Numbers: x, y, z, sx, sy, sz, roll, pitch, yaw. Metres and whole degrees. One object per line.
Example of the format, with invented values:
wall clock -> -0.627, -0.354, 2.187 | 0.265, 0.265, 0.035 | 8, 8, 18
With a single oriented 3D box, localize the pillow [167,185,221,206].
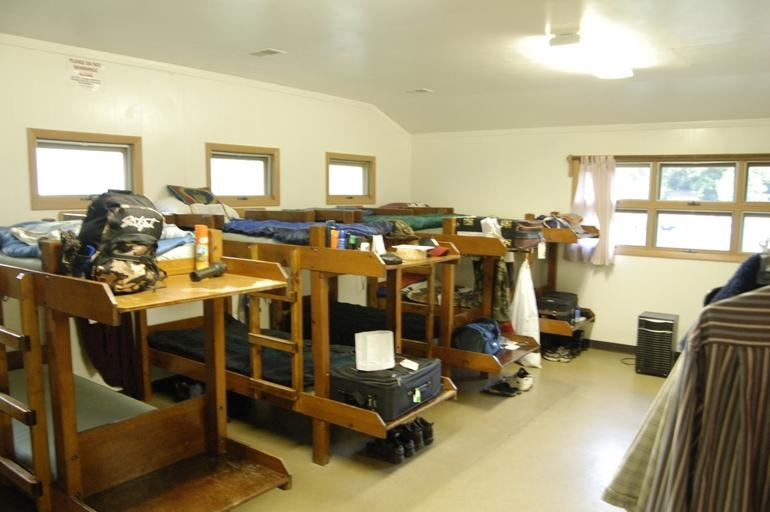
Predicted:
pillow -> -1.794, -0.538, 5.399 | 0.315, 0.081, 0.316 | 2, 17, -43

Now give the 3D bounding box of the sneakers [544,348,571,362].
sneakers -> 1.992, 1.153, 6.429 | 0.254, 0.093, 0.145 | 3, 2, 17

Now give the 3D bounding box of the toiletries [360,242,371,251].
toiletries -> -0.131, -0.074, 4.123 | 0.078, 0.044, 0.053 | -4, 12, -22

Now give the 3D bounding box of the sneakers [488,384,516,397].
sneakers -> 1.136, 1.303, 5.351 | 0.305, 0.108, 0.104 | 0, 3, 22

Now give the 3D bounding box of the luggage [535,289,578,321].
luggage -> 1.938, 0.562, 6.311 | 0.372, 0.189, 0.467 | 3, 4, 35

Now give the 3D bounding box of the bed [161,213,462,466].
bed -> -0.375, 0.637, 4.756 | 2.802, 1.388, 1.419 | 3, 8, 31

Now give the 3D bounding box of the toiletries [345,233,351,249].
toiletries -> -0.249, -0.116, 4.092 | 0.030, 0.101, 0.024 | 2, 16, -3

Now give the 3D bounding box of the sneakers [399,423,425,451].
sneakers -> 0.232, 1.435, 4.372 | 0.104, 0.104, 0.285 | -5, 9, -29

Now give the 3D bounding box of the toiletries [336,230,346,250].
toiletries -> -0.295, -0.124, 4.073 | 0.060, 0.119, 0.089 | 2, 15, -3

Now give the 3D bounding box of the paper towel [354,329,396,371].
paper towel -> -0.150, 0.716, 4.310 | 0.326, 0.224, 0.291 | -8, -27, 18

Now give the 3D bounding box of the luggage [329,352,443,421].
luggage -> 0.114, 0.965, 4.134 | 0.557, 0.143, 0.550 | 5, 6, 40

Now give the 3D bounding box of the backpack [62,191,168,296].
backpack -> -1.482, -0.066, 3.156 | 0.747, 0.581, 0.484 | 5, 2, 19

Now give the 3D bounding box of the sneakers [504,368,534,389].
sneakers -> 1.351, 1.250, 5.563 | 0.186, 0.083, 0.250 | -6, 17, 1

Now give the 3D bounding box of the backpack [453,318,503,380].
backpack -> 0.945, 0.774, 5.212 | 0.296, 0.336, 0.414 | -28, -22, 31

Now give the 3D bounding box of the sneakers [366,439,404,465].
sneakers -> 0.016, 1.500, 4.296 | 0.367, 0.125, 0.125 | 8, 8, 33
